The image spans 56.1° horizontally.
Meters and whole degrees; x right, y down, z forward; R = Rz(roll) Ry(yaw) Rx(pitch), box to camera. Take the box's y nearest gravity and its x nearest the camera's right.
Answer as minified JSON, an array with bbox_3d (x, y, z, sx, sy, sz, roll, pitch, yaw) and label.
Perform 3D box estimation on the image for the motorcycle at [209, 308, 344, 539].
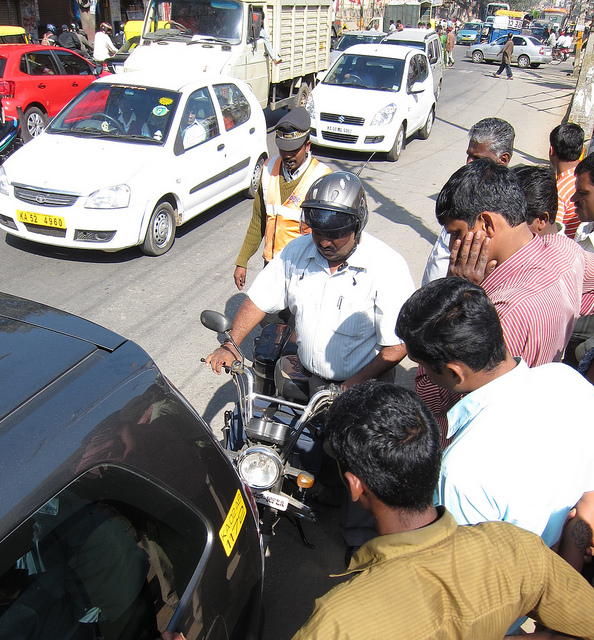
[{"bbox_3d":[-0.058,0.497,2.579,0.600,0.698,1.008,7,40,7],"label":"motorcycle"}]

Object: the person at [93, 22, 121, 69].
[{"bbox_3d":[-5.266,-7.858,15.929,0.469,1.374,0.541,-3,67,-6],"label":"person"}]

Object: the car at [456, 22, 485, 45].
[{"bbox_3d":[12.838,-21.444,41.320,1.352,1.351,2.577,17,48,21],"label":"car"}]

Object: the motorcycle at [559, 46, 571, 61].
[{"bbox_3d":[16.830,-16.807,35.252,0.499,0.682,2.003,15,34,18],"label":"motorcycle"}]

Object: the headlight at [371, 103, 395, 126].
[{"bbox_3d":[1.555,-3.632,9.871,0.195,0.303,0.589,24,37,30],"label":"headlight"}]

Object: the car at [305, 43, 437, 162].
[{"bbox_3d":[1.559,-4.121,11.460,2.191,2.037,3.810,15,37,20],"label":"car"}]

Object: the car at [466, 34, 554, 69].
[{"bbox_3d":[11.088,-13.938,28.959,3.970,1.602,2.099,21,35,24],"label":"car"}]

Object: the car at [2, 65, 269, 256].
[{"bbox_3d":[-1.834,-2.169,6.942,1.891,1.811,3.645,18,35,22],"label":"car"}]
